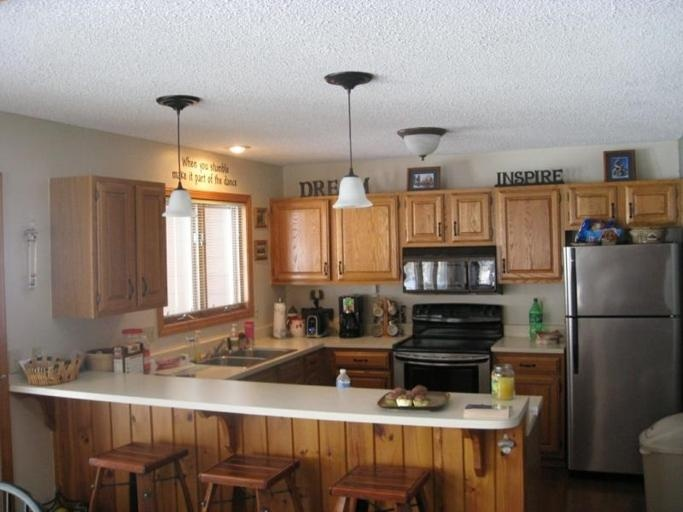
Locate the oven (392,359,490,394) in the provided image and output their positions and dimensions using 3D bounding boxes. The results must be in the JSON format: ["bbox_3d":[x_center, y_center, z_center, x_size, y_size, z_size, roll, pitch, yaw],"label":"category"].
[{"bbox_3d":[0.914,1.085,5.149,0.560,0.333,0.364,-2,-7,20],"label":"oven"}]

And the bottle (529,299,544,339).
[{"bbox_3d":[1.819,0.587,5.377,0.139,0.370,0.317,-3,0,18],"label":"bottle"}]

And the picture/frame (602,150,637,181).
[{"bbox_3d":[2.488,-0.801,5.134,0.342,0.365,0.028,1,-8,18],"label":"picture/frame"}]

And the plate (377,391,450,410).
[{"bbox_3d":[0.389,0.770,3.113,0.377,0.091,0.272,-3,0,10],"label":"plate"}]

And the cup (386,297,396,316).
[{"bbox_3d":[0.499,0.505,5.792,0.108,0.137,0.051,-6,-31,24],"label":"cup"}]

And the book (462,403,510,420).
[{"bbox_3d":[0.737,0.789,2.932,0.227,0.036,0.191,-3,0,11],"label":"book"}]

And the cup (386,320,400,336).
[{"bbox_3d":[0.517,0.731,5.838,0.123,0.146,0.081,-3,1,-9],"label":"cup"}]

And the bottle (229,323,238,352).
[{"bbox_3d":[-0.993,0.740,5.324,0.084,0.251,0.266,-4,0,-11],"label":"bottle"}]

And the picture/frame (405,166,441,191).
[{"bbox_3d":[0.805,-0.743,5.595,0.307,0.223,0.029,-1,-5,12],"label":"picture/frame"}]

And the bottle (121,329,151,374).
[{"bbox_3d":[-1.522,0.696,4.275,0.202,0.349,0.460,-3,0,-18],"label":"bottle"}]

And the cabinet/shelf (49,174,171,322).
[{"bbox_3d":[-1.561,-0.064,3.905,0.757,0.981,0.321,-3,0,-25],"label":"cabinet/shelf"}]

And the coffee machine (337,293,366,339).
[{"bbox_3d":[0.123,0.614,5.839,0.314,0.423,0.195,-3,0,-23],"label":"coffee machine"}]

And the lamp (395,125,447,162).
[{"bbox_3d":[0.635,-0.880,4.503,0.394,0.232,0.318,-3,0,9],"label":"lamp"}]

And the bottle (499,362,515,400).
[{"bbox_3d":[0.906,0.680,3.131,0.064,0.177,0.209,-3,0,27],"label":"bottle"}]

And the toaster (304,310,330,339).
[{"bbox_3d":[-0.243,0.694,5.851,0.214,0.284,0.296,1,5,19],"label":"toaster"}]

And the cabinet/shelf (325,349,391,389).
[{"bbox_3d":[0.175,1.046,5.460,0.560,0.460,0.369,-1,-4,17],"label":"cabinet/shelf"}]

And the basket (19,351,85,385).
[{"bbox_3d":[-1.855,0.729,3.735,0.228,0.110,0.259,1,0,-8],"label":"basket"}]

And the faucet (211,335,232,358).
[{"bbox_3d":[-1.079,0.818,5.135,0.084,0.176,0.219,-3,0,40],"label":"faucet"}]

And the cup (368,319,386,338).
[{"bbox_3d":[0.346,0.749,5.892,0.118,0.122,0.190,1,-2,-30],"label":"cup"}]

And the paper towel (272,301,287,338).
[{"bbox_3d":[-0.636,0.647,5.888,0.163,0.380,0.209,-3,0,-7],"label":"paper towel"}]

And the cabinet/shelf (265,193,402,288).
[{"bbox_3d":[-0.039,-0.153,5.649,1.091,0.619,0.364,-1,-2,15],"label":"cabinet/shelf"}]
